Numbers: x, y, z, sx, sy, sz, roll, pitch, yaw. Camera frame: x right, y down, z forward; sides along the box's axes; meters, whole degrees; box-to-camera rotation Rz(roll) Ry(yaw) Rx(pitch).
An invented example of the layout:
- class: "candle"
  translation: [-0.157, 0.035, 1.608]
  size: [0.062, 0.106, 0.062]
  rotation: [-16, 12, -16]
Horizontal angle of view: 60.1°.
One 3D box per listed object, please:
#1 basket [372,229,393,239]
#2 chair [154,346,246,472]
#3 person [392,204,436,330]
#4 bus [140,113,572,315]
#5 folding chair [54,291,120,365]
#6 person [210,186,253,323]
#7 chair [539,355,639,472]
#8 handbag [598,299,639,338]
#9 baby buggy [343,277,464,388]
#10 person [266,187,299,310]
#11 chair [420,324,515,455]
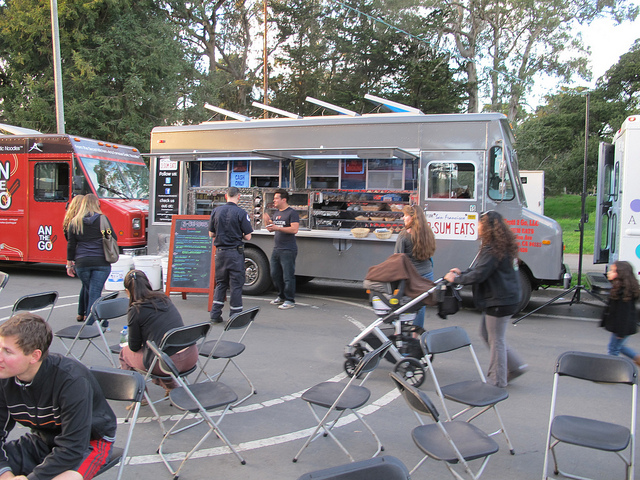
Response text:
- class: "basket"
  translation: [1.200, -0.103, 10.591]
  size: [0.336, 0.166, 0.193]
  rotation: [1, 5, 6]
- class: "chair"
  translation: [-1.203, 1.549, 5.573]
  size: [0.852, 1.054, 1.216]
  rotation: [-1, 5, -9]
- class: "person"
  translation: [1.290, 0.049, 7.569]
  size: [0.540, 1.011, 0.468]
  rotation: [1, 6, 7]
- class: "bus"
  translation: [0.936, -0.620, 12.221]
  size: [9.161, 3.334, 5.396]
  rotation: [4, 0, 24]
- class: "folding chair"
  translation: [-3.047, 1.229, 7.147]
  size: [0.815, 0.832, 0.632]
  rotation: [0, 0, -2]
- class: "person"
  translation: [-1.539, 0.262, 9.275]
  size: [0.727, 2.277, 0.778]
  rotation: [0, 6, 0]
- class: "chair"
  translation: [2.511, 1.596, 5.215]
  size: [0.794, 1.079, 1.425]
  rotation: [2, 6, 21]
- class: "handbag"
  translation: [3.617, 0.942, 6.698]
  size: [0.426, 0.462, 0.210]
  rotation: [2, 6, 20]
- class: "baby buggy"
  translation: [1.033, 1.100, 7.231]
  size: [1.431, 1.418, 1.200]
  rotation: [5, 7, -23]
- class: "person"
  translation: [-0.705, 0.167, 10.480]
  size: [0.548, 2.240, 0.532]
  rotation: [0, 6, -4]
- class: "chair"
  translation: [1.472, 1.579, 5.611]
  size: [0.827, 1.103, 0.998]
  rotation: [-1, 13, -22]
